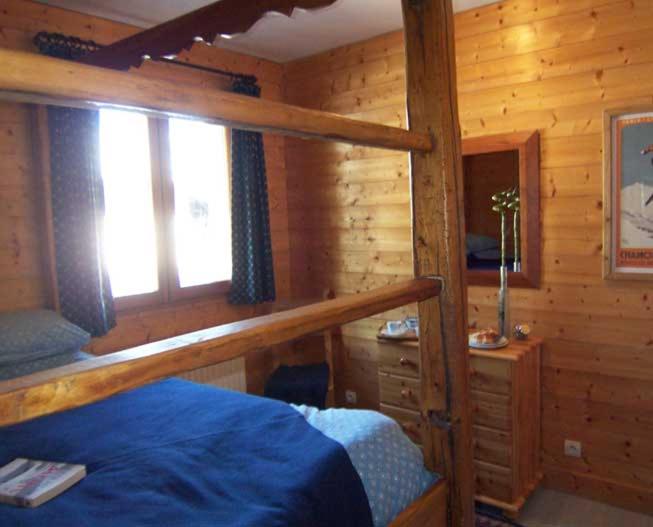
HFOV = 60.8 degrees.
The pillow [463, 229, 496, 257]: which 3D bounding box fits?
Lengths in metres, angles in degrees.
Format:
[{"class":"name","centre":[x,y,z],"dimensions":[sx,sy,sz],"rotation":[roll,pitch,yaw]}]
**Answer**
[{"class":"pillow","centre":[0.940,-0.121,3.439],"dimensions":[0.186,0.093,0.183],"rotation":[-7,16,-14]}]

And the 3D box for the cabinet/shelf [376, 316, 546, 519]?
[{"class":"cabinet/shelf","centre":[0.691,0.640,3.638],"dimensions":[1.384,1.293,0.829],"rotation":[1,1,36]}]
